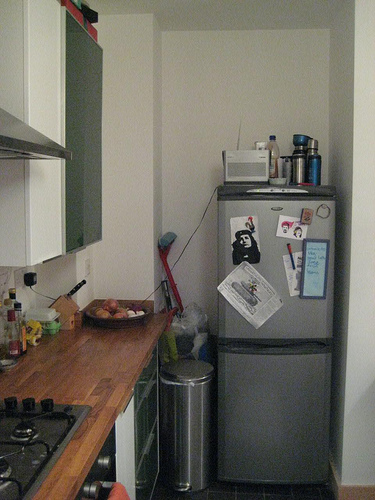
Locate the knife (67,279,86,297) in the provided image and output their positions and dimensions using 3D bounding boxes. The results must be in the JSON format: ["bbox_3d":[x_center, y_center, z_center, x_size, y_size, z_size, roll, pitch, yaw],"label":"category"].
[{"bbox_3d":[-0.581,0.191,2.257,0.084,0.080,0.128,0,3,-21],"label":"knife"}]

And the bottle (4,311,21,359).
[{"bbox_3d":[-0.697,0.328,1.710,0.081,0.182,0.060,2,2,11],"label":"bottle"}]

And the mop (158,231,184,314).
[{"bbox_3d":[-0.093,0.145,2.834,0.152,0.521,0.204,2,2,31],"label":"mop"}]

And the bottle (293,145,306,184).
[{"bbox_3d":[0.630,-0.481,2.438,0.069,0.229,0.142,2,2,22],"label":"bottle"}]
